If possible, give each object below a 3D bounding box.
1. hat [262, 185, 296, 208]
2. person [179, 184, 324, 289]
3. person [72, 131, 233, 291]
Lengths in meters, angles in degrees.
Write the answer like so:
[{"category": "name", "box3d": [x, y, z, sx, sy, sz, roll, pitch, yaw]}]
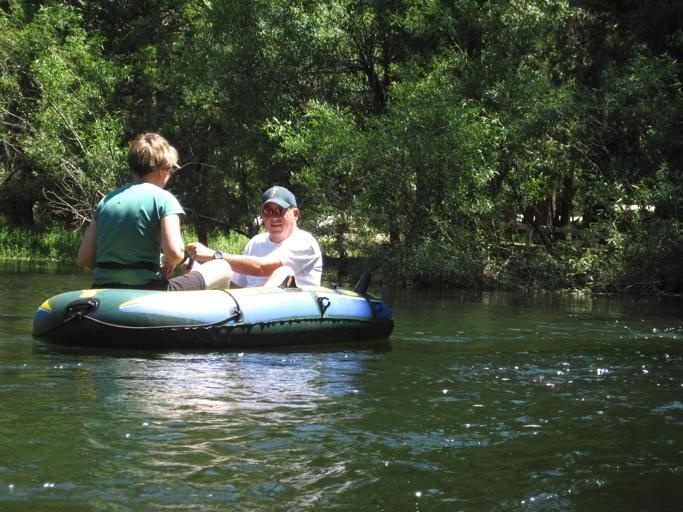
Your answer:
[{"category": "hat", "box3d": [-0.649, -0.587, 8.598, 0.250, 0.219, 0.360, 11, 14, 43]}, {"category": "person", "box3d": [-0.878, 0.013, 8.823, 1.041, 1.348, 1.555, 9, 11, 41]}, {"category": "person", "box3d": [-1.951, -0.392, 8.079, 1.100, 1.556, 1.008, 3, 11, 8]}]
